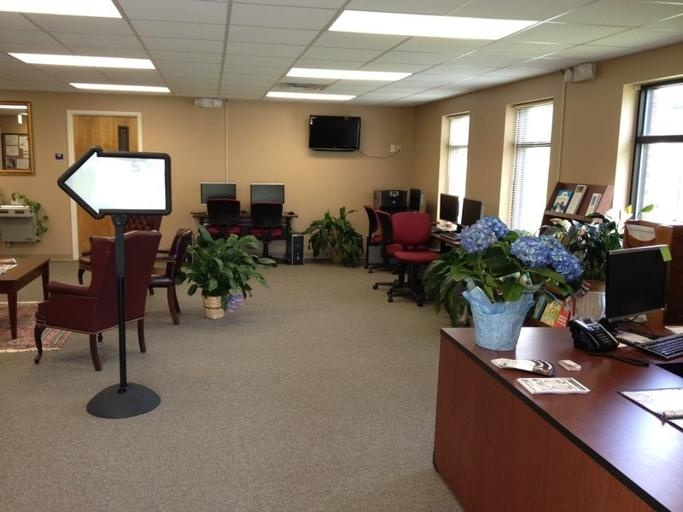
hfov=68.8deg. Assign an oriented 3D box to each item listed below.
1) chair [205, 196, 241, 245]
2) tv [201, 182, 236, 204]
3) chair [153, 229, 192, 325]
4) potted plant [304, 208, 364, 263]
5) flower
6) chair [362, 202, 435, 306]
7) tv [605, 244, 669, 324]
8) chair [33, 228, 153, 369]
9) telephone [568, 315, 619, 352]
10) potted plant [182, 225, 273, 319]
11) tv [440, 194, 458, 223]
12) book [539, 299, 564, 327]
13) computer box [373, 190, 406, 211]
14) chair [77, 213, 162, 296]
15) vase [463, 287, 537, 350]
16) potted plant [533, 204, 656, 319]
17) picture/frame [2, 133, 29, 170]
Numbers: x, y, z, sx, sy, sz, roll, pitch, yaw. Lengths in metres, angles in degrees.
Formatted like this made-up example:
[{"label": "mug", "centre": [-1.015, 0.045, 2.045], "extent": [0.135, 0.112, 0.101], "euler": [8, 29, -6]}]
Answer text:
[{"label": "chair", "centre": [-1.813, -0.471, 7.829], "extent": [0.615, 1.030, 0.702], "euler": [-1, -6, -12]}, {"label": "tv", "centre": [-2.078, -1.037, 8.334], "extent": [0.394, 0.280, 0.043], "euler": [0, 1, -10]}, {"label": "chair", "centre": [-1.976, 0.196, 5.449], "extent": [0.571, 0.894, 0.523], "euler": [2, 9, -29]}, {"label": "potted plant", "centre": [-0.208, -0.323, 8.966], "extent": [0.831, 0.992, 1.120], "euler": [-3, -4, 38]}, {"label": "flower", "centre": [0.834, 0.031, 2.619], "extent": [0.662, 0.473, 0.674], "euler": [-2, 5, -29]}, {"label": "chair", "centre": [0.829, -0.056, 6.849], "extent": [1.142, 1.488, 1.092], "euler": [-1, 9, -7]}, {"label": "tv", "centre": [1.682, 0.156, 2.854], "extent": [0.457, 0.351, 0.063], "euler": [-4, 5, -30]}, {"label": "chair", "centre": [-2.103, 0.326, 4.362], "extent": [0.914, 1.098, 0.828], "euler": [3, 7, 1]}, {"label": "telephone", "centre": [1.360, 0.423, 2.725], "extent": [0.179, 0.142, 0.237], "euler": [2, 6, -17]}, {"label": "potted plant", "centre": [-1.331, 0.184, 5.583], "extent": [0.886, 1.026, 0.653], "euler": [-2, 13, -19]}, {"label": "tv", "centre": [1.543, -0.685, 7.217], "extent": [0.127, 0.353, 0.408], "euler": [-3, 9, -15]}, {"label": "book", "centre": [1.521, 0.412, 3.623], "extent": [0.150, 0.198, 0.283], "euler": [1, 4, 9]}, {"label": "computer box", "centre": [0.889, -0.974, 8.813], "extent": [0.401, 0.314, 0.415], "euler": [0, 10, -6]}, {"label": "chair", "centre": [-2.999, -0.110, 6.797], "extent": [1.084, 1.285, 1.155], "euler": [-2, -3, 22]}, {"label": "vase", "centre": [0.813, 0.337, 2.645], "extent": [0.364, 0.307, 0.322], "euler": [3, 10, 13]}, {"label": "potted plant", "centre": [1.713, 0.080, 3.428], "extent": [0.586, 0.787, 0.683], "euler": [-6, 2, 16]}, {"label": "picture/frame", "centre": [-5.379, -1.699, 8.251], "extent": [0.620, 0.747, 0.026], "euler": [-6, -20, -8]}]
